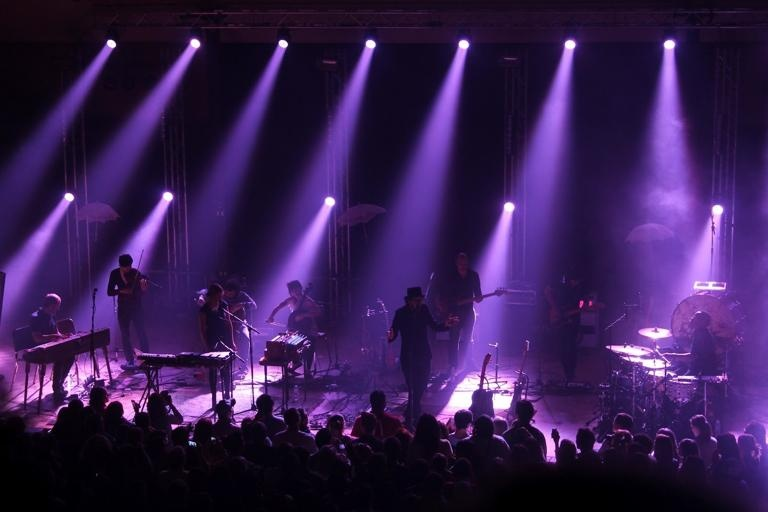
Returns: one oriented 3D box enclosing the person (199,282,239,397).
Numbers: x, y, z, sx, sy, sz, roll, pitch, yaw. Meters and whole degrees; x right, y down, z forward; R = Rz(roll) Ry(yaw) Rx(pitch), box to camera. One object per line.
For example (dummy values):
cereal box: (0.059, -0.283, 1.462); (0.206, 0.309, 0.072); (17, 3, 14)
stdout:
person: (-3.056, 1.539, 13.162); (0.760, 2.015, 1.147); (7, -11, -10)

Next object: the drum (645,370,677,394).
drum: (4.659, 2.109, 12.145); (0.407, 0.160, 0.403); (-2, 32, 2)

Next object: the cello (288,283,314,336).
cello: (-1.695, 1.072, 14.547); (0.542, 1.024, 0.329); (0, 0, 26)

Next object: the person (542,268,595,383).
person: (3.751, 1.408, 14.532); (0.911, 2.423, 0.910); (-3, -14, 36)

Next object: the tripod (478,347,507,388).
tripod: (2.222, 2.286, 14.469); (0.570, 0.816, 0.488); (5, 7, 13)

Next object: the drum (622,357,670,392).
drum: (4.500, 1.957, 12.183); (0.609, 0.437, 0.605); (1, 5, 0)

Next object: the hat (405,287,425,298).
hat: (0.544, 0.645, 12.623); (0.284, 0.234, 0.218); (5, -11, 3)

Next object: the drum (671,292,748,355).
drum: (6.146, 1.299, 13.706); (1.242, 1.178, 0.732); (-4, -11, 43)

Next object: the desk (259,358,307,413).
desk: (-1.770, 2.425, 13.589); (0.939, 1.170, 0.967); (0, -3, 1)

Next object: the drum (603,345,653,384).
drum: (4.229, 1.899, 12.494); (0.628, 0.568, 0.674); (0, 3, 16)
